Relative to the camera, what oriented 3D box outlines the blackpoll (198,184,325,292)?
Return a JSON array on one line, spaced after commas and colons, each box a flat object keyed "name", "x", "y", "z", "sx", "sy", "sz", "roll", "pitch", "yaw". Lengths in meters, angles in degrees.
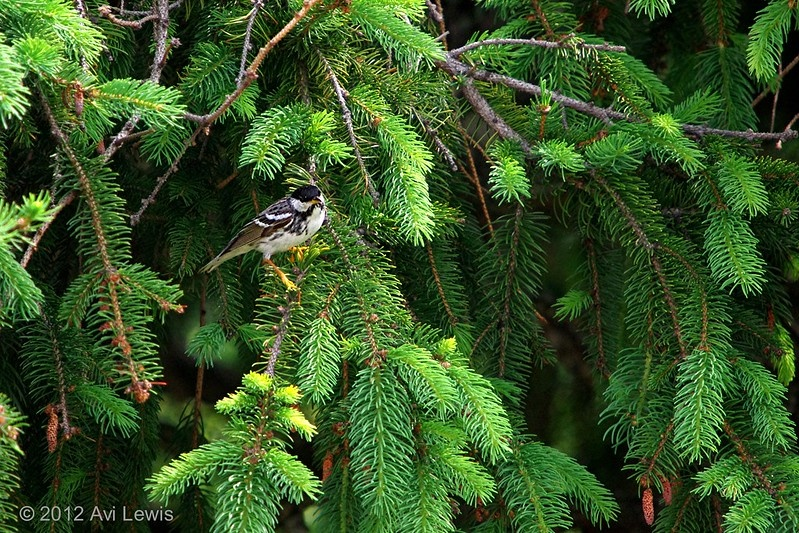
[{"name": "blackpoll", "x": -0.870, "y": -0.187, "z": 5.622, "sx": 0.769, "sy": 0.663, "sz": 0.316, "roll": 1, "pitch": -5, "yaw": 4}]
